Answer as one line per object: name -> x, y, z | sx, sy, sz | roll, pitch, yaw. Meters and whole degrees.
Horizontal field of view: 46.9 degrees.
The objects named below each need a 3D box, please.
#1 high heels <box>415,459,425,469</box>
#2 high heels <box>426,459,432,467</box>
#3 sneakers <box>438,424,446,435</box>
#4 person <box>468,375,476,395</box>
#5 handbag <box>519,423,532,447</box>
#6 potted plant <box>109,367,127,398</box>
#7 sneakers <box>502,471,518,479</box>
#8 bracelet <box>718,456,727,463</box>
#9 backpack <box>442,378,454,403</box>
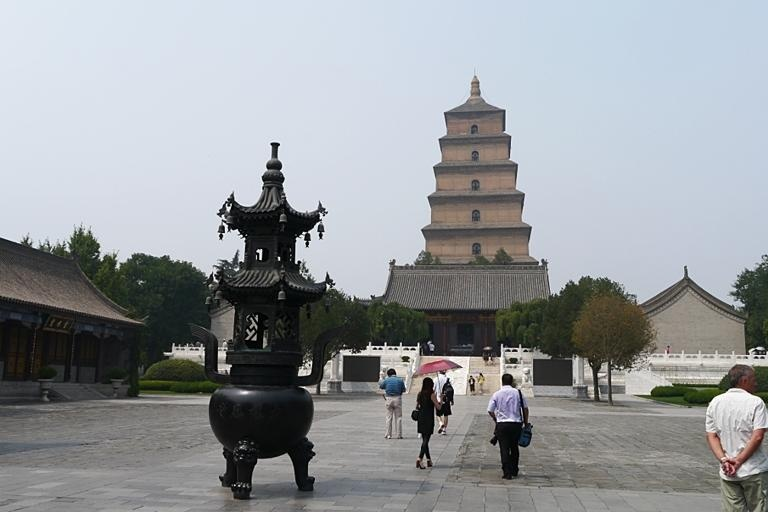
high heels -> 0.920, 5.186, 22.313 | 0.229, 0.234, 0.395 | 1, -10, 3
high heels -> 1.182, 5.225, 22.440 | 0.138, 0.180, 0.331 | -3, -11, 22
sneakers -> 1.808, 5.397, 27.551 | 0.143, 0.387, 0.164 | 8, 30, 5
person -> 4.891, 7.092, 49.321 | 0.377, 0.994, 1.207 | 0, -10, 7
handbag -> 3.421, 4.342, 21.642 | 0.310, 0.530, 0.535 | 0, -10, 6
potted plant -> -13.076, 6.120, 43.327 | 0.731, 1.368, 1.050 | 1, -10, 0
sneakers -> 3.063, 5.287, 21.466 | 0.465, 0.172, 0.288 | 4, -11, -14
bracelet -> 6.570, 3.935, 17.170 | 0.126, 0.128, 0.079 | -1, -11, 12
backpack -> 2.069, 4.171, 27.428 | 0.490, 0.691, 0.675 | 2, -15, -11
